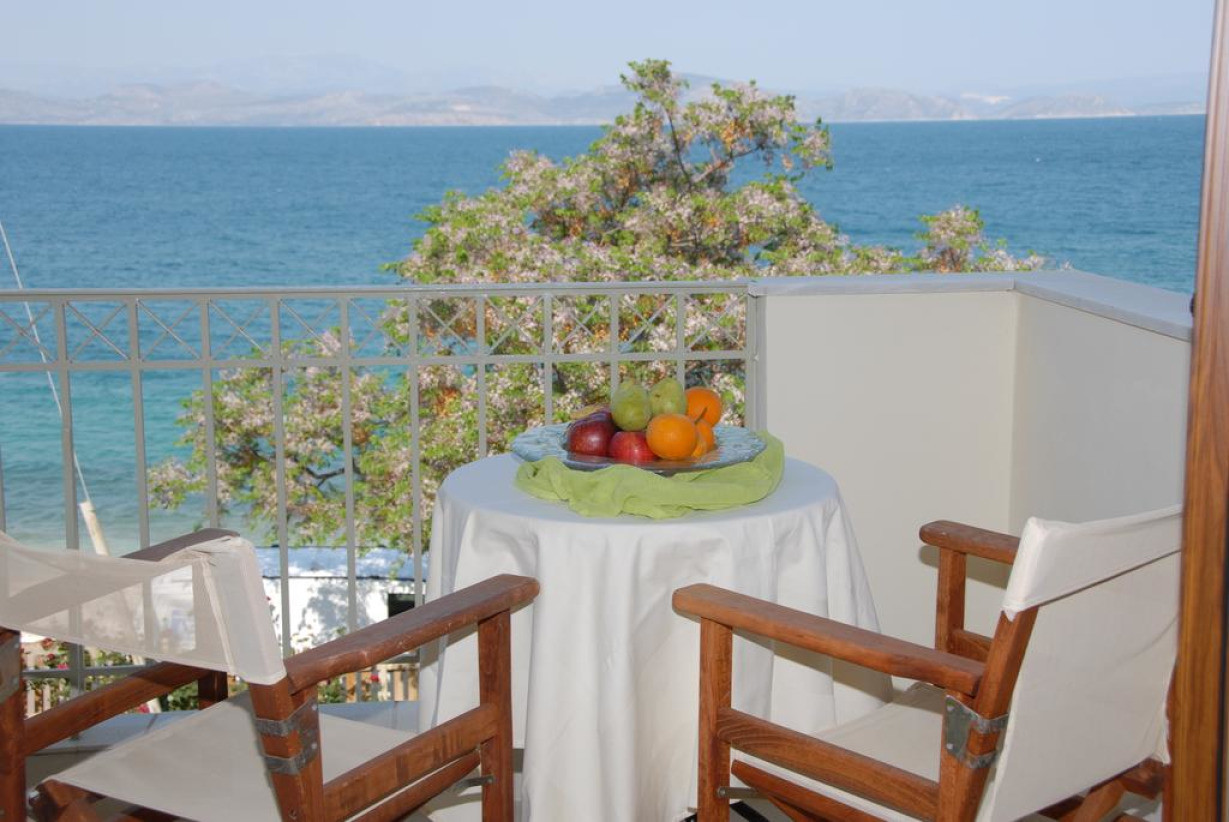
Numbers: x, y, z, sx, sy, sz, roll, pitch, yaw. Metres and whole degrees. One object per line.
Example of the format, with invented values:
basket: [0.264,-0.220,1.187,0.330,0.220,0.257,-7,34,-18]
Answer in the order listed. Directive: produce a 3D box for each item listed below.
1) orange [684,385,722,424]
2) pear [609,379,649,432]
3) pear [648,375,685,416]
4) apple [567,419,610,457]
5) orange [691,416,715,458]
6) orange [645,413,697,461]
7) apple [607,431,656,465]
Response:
orange: [0.226,-0.004,2.859,0.080,0.086,0.083,3,-26,-7]
pear: [0.038,-0.005,2.765,0.080,0.114,0.069,-8,-12,-30]
pear: [0.133,-0.035,2.748,0.078,0.090,0.093,0,5,36]
apple: [-0.056,0.059,2.721,0.084,0.089,0.080,-2,3,-24]
orange: [0.213,0.064,2.726,0.056,0.059,0.071,13,42,-15]
orange: [0.138,0.059,2.657,0.101,0.107,0.103,1,17,3]
apple: [0.043,0.089,2.678,0.075,0.079,0.077,0,1,2]
